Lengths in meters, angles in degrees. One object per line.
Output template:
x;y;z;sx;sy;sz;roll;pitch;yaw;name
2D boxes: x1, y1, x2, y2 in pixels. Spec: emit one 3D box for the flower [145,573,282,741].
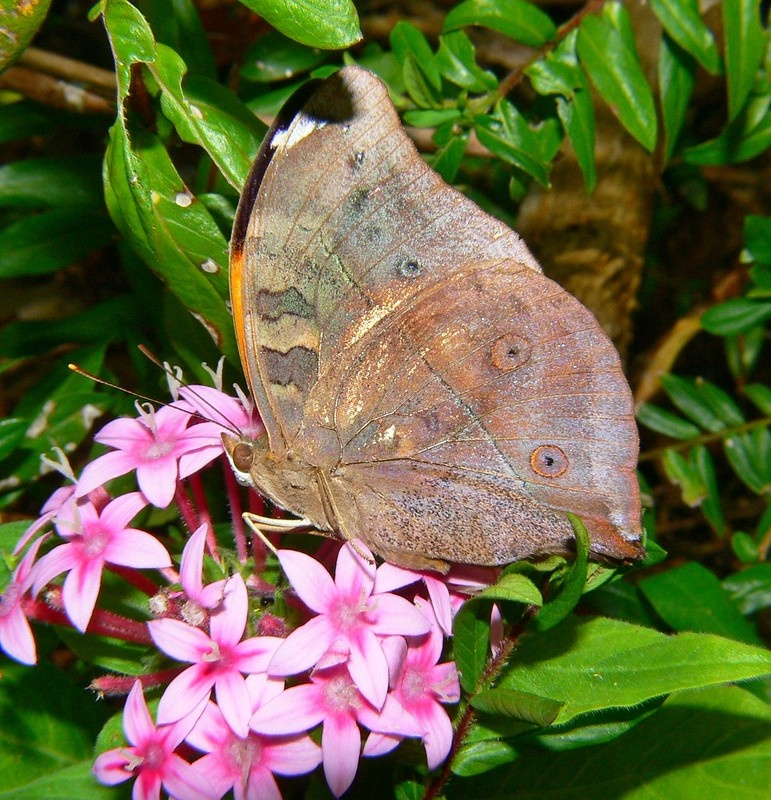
-0.305;0.451;1.783;0.321;0.256;0.078;-10;-65;14;flower
